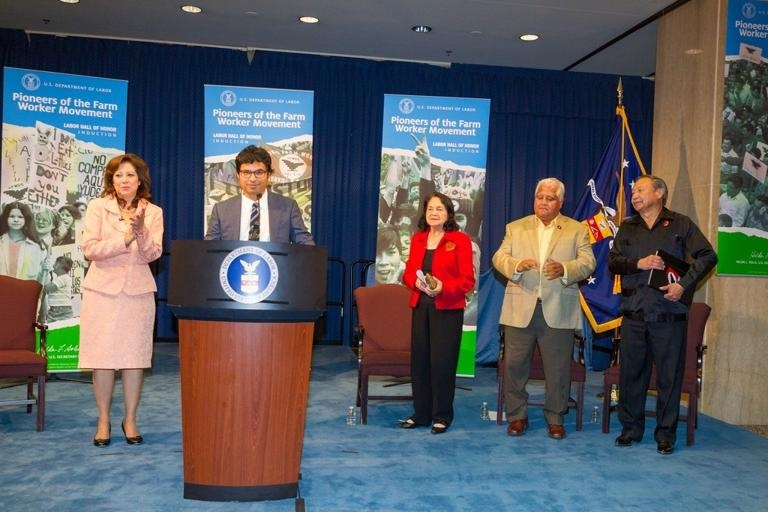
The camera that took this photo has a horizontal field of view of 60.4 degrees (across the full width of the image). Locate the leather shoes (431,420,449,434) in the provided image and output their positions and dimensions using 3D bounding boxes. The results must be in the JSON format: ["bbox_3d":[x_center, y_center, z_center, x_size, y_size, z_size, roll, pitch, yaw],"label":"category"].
[{"bbox_3d":[0.545,1.649,6.356,0.079,0.079,0.181,0,-11,40],"label":"leather shoes"}]

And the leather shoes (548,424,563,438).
[{"bbox_3d":[1.655,1.673,6.348,0.157,0.125,0.122,0,0,18],"label":"leather shoes"}]

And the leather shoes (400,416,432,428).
[{"bbox_3d":[0.302,1.640,6.545,0.328,0.135,0.120,5,-4,-5],"label":"leather shoes"}]

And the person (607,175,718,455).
[{"bbox_3d":[2.547,0.525,6.170,0.845,2.380,0.512,0,0,20],"label":"person"}]

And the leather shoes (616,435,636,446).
[{"bbox_3d":[2.260,1.736,6.209,0.188,0.088,0.090,-6,13,-22],"label":"leather shoes"}]

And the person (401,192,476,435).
[{"bbox_3d":[0.503,0.544,6.379,0.731,2.262,0.544,0,0,19],"label":"person"}]

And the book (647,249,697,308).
[{"bbox_3d":[2.565,0.199,5.994,0.458,0.452,0.108,30,2,-5],"label":"book"}]

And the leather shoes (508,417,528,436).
[{"bbox_3d":[1.314,1.650,6.427,0.272,0.164,0.125,0,0,-35],"label":"leather shoes"}]

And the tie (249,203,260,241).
[{"bbox_3d":[-1.006,-0.274,5.154,0.082,0.303,0.165,0,0,-12],"label":"tie"}]

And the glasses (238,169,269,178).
[{"bbox_3d":[-0.992,-0.631,5.071,0.204,0.063,0.059,0,0,-10],"label":"glasses"}]

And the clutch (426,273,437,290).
[{"bbox_3d":[0.443,0.240,6.194,0.075,0.034,0.138,3,41,-31],"label":"clutch"}]

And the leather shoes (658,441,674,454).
[{"bbox_3d":[2.597,1.760,6.115,0.073,0.071,0.164,0,7,20],"label":"leather shoes"}]
